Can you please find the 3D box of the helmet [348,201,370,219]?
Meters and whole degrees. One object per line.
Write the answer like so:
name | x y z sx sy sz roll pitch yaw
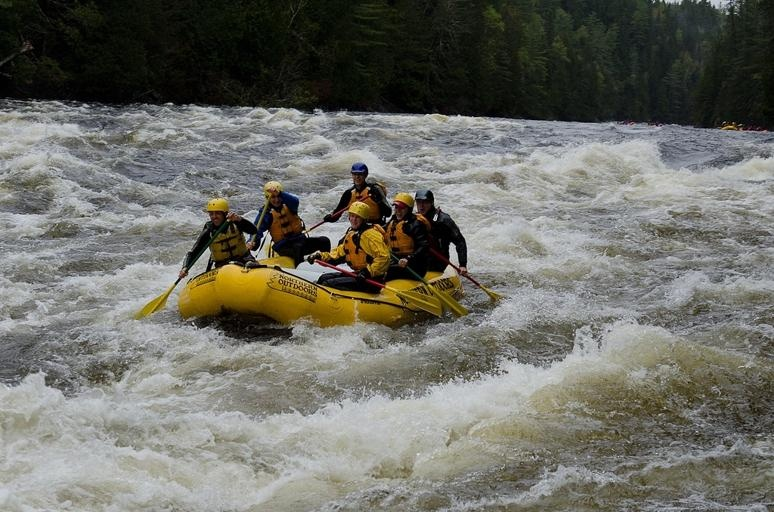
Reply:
helmet | -0.430 -0.695 12.849 0.249 0.215 0.314 25 17 12

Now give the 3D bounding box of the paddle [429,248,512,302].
paddle | 1.398 0.367 14.164 1.395 0.142 0.237 33 42 2

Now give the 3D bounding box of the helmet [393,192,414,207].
helmet | 0.274 -0.888 13.352 0.319 0.139 0.215 9 7 -41

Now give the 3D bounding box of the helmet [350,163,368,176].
helmet | -0.501 -1.501 14.557 0.258 0.201 0.353 -5 16 -5

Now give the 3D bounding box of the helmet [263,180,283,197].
helmet | -1.917 -1.107 13.808 0.259 0.206 0.290 -4 17 -2

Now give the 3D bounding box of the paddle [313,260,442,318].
paddle | -0.207 0.401 12.890 2.231 0.369 0.142 22 44 0

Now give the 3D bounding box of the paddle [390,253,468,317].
paddle | 0.591 0.417 12.918 0.170 1.980 0.266 13 65 30
